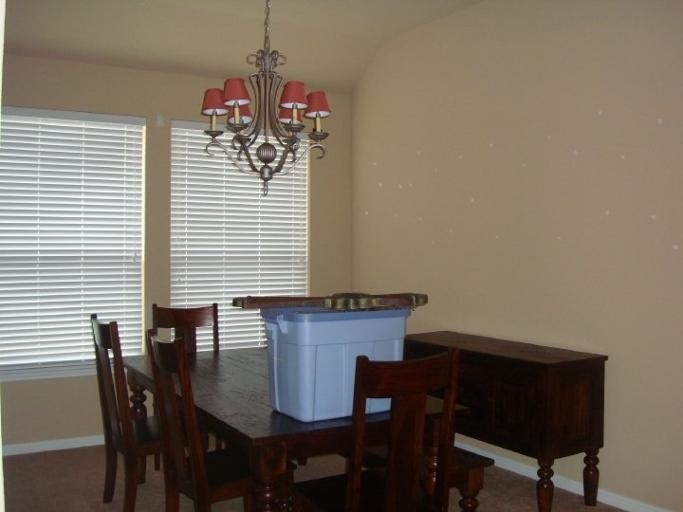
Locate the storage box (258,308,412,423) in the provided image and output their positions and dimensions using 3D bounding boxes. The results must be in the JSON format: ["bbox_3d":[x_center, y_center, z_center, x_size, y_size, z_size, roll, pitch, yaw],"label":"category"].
[{"bbox_3d":[-0.019,0.356,2.722,0.712,0.508,0.435,1,1,-32],"label":"storage box"}]

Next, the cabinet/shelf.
[{"bbox_3d":[0.922,0.886,3.305,0.348,0.680,1.005,0,0,-28],"label":"cabinet/shelf"}]
